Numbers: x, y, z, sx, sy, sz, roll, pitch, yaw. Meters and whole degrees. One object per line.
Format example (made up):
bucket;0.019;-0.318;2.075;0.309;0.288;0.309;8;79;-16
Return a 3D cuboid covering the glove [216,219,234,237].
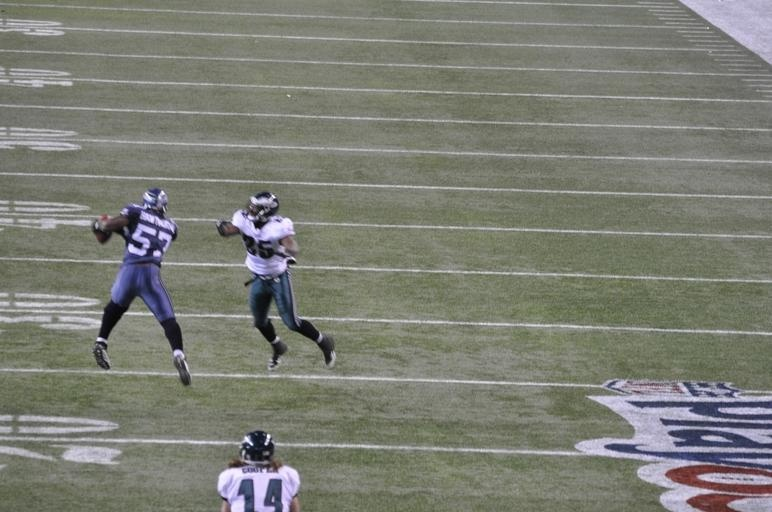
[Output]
glove;-3.060;-0.553;44.784;0.262;0.148;0.496;-3;16;-18

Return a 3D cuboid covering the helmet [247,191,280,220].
helmet;-2.262;-0.957;44.771;0.694;0.431;0.438;16;34;5
